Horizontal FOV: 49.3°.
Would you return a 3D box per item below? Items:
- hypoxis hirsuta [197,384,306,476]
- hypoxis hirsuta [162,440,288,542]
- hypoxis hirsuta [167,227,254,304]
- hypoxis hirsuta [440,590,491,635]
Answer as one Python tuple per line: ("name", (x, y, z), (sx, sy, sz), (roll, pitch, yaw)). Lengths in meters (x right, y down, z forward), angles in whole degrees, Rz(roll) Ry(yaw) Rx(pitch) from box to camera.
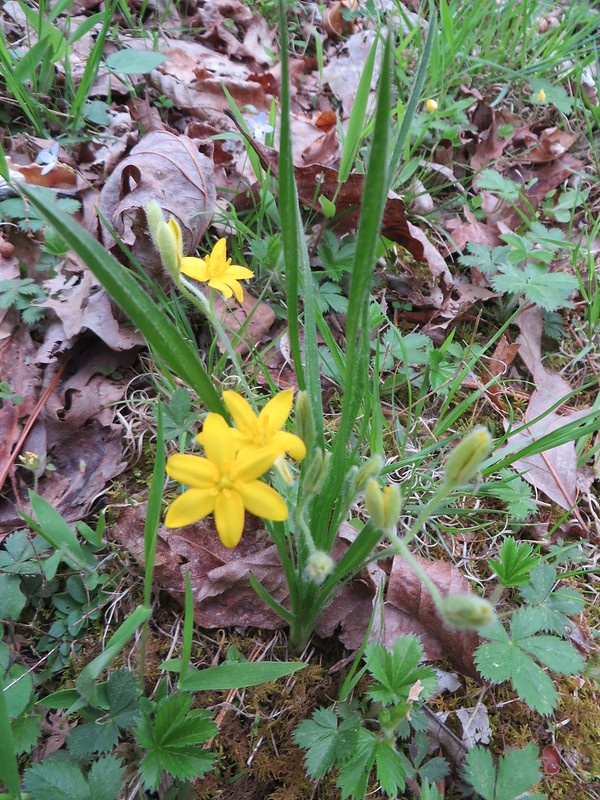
("hypoxis hirsuta", (-0.098, 0.068, 1.398), (0.184, 0.049, 0.193), (-1, 61, 10))
("hypoxis hirsuta", (-0.157, 0.178, 1.264), (0.229, 0.065, 0.211), (-27, 79, -19))
("hypoxis hirsuta", (-0.215, -0.341, 1.773), (0.158, 0.197, 0.248), (24, 49, 3))
("hypoxis hirsuta", (0.269, 0.361, 1.116), (0.033, 0.082, 0.064), (-33, 108, -43))
